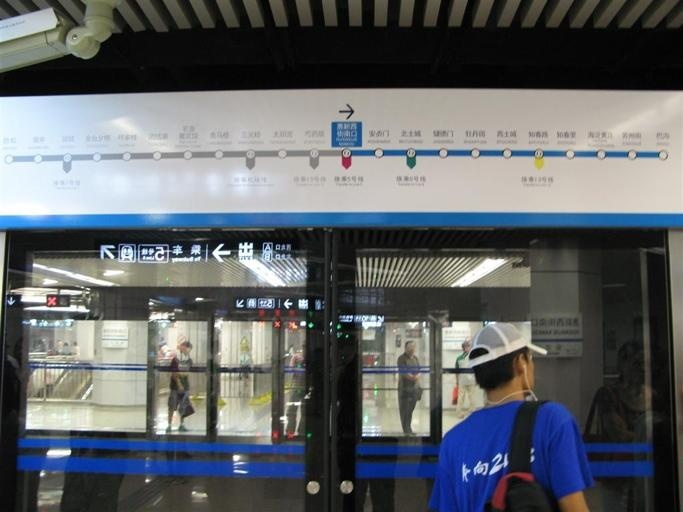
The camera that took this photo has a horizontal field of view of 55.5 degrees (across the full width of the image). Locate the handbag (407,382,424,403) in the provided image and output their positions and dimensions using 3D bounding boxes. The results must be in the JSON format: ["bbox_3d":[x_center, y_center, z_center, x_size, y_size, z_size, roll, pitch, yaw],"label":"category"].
[{"bbox_3d":[0.560,1.014,4.893,0.101,0.144,0.113,-2,-7,7],"label":"handbag"}]

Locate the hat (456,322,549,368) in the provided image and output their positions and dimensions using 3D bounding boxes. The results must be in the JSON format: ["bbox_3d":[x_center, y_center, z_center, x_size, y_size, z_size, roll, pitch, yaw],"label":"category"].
[{"bbox_3d":[0.982,0.507,3.970,0.435,0.258,0.340,-15,-6,-5],"label":"hat"}]

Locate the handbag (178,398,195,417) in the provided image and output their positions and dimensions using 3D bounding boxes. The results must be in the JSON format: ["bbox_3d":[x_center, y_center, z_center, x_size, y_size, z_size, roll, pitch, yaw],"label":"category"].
[{"bbox_3d":[-1.159,1.137,4.847,0.134,0.160,0.106,-7,-20,-13],"label":"handbag"}]

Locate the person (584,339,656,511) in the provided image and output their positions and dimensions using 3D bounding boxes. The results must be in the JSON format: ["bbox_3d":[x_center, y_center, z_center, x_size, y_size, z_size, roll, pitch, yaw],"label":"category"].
[{"bbox_3d":[2.017,1.225,4.717,0.484,1.220,0.129,1,-9,-4],"label":"person"}]
